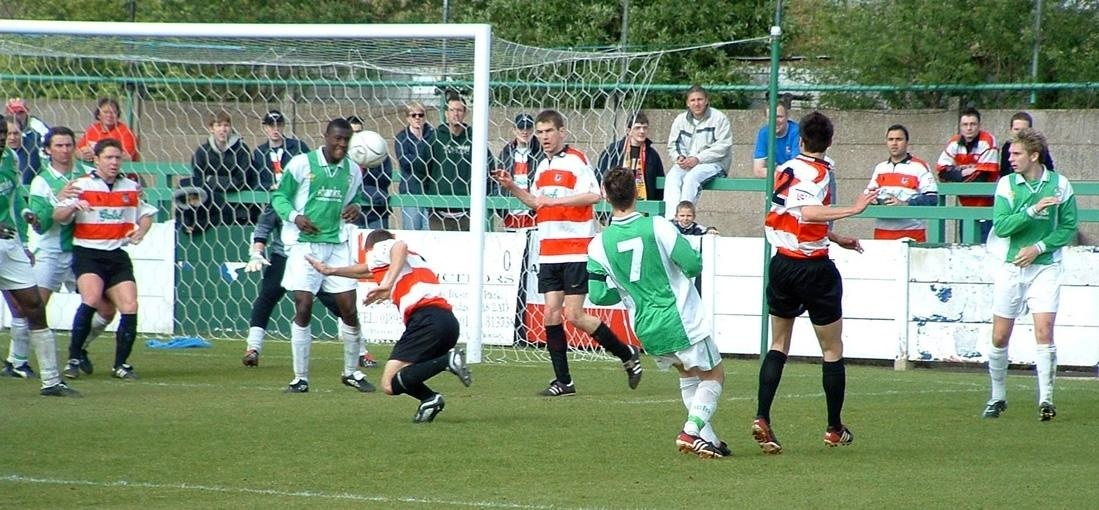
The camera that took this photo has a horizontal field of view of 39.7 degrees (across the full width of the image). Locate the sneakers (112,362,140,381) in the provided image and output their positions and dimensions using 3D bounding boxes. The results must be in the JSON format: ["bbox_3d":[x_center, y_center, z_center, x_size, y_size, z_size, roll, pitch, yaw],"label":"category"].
[{"bbox_3d":[-7.214,2.054,25.990,0.521,0.191,0.192,-2,-1,14],"label":"sneakers"}]

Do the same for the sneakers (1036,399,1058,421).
[{"bbox_3d":[8.030,2.565,24.540,0.179,0.189,0.405,-1,-17,5],"label":"sneakers"}]

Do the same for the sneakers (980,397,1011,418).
[{"bbox_3d":[7.237,2.561,24.693,0.221,0.452,0.194,47,4,-19],"label":"sneakers"}]

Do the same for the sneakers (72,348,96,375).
[{"bbox_3d":[-7.994,1.890,26.269,0.186,0.200,0.482,-16,44,-18],"label":"sneakers"}]

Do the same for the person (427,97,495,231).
[{"bbox_3d":[-1.635,-1.729,28.753,0.844,2.435,1.359,-1,0,-41],"label":"person"}]

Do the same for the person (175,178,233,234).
[{"bbox_3d":[-6.579,-0.839,29.006,1.078,1.038,0.552,-5,39,2],"label":"person"}]

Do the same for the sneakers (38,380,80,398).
[{"bbox_3d":[-7.966,2.269,25.016,0.724,0.246,0.234,0,-3,-4],"label":"sneakers"}]

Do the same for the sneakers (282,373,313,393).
[{"bbox_3d":[-4.157,2.217,25.510,0.408,0.189,0.225,3,-4,-4],"label":"sneakers"}]

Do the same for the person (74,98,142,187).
[{"bbox_3d":[-8.332,-2.039,28.781,1.363,1.530,1.124,-2,2,-16],"label":"person"}]

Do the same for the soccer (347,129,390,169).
[{"bbox_3d":[-3.023,-1.780,25.849,0.676,0.598,0.648,-29,21,-23],"label":"soccer"}]

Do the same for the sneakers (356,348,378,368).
[{"bbox_3d":[-3.245,1.881,27.161,0.238,0.154,0.516,-3,17,-37],"label":"sneakers"}]

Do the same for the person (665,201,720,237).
[{"bbox_3d":[2.473,-0.570,28.047,1.460,0.546,0.436,4,0,-6],"label":"person"}]

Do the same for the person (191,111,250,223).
[{"bbox_3d":[-6.107,-1.835,28.812,0.957,0.502,1.419,5,-27,3],"label":"person"}]

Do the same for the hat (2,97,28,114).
[{"bbox_3d":[-9.795,-2.716,28.167,0.360,0.254,0.274,0,0,-25],"label":"hat"}]

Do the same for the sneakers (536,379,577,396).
[{"bbox_3d":[0.134,2.303,25.630,0.696,0.234,0.227,1,-5,-5],"label":"sneakers"}]

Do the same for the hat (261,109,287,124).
[{"bbox_3d":[-5.061,-2.529,28.152,0.369,0.225,0.459,0,1,-7],"label":"hat"}]

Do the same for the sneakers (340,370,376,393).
[{"bbox_3d":[-3.179,2.172,25.554,0.730,0.259,0.258,7,9,26],"label":"sneakers"}]
